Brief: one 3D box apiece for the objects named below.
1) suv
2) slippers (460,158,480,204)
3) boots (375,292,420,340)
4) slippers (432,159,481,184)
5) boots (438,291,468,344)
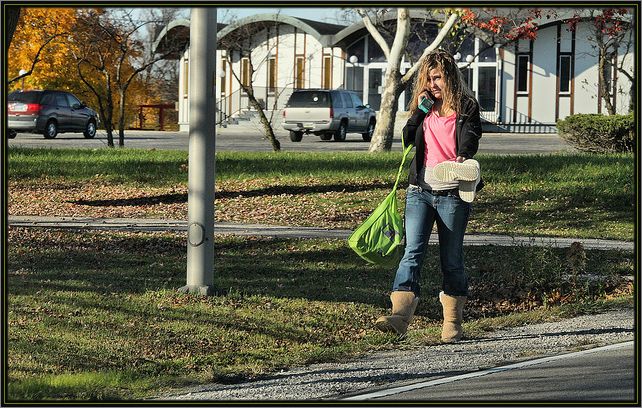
[{"bbox_3d":[0.370,-3.605,46.454,2.927,2.089,5.407,2,4,36],"label":"suv"},{"bbox_3d":[2.619,-0.410,19.897,0.298,0.804,0.344,4,6,22],"label":"slippers"},{"bbox_3d":[1.339,1.919,20.026,0.402,0.772,0.776,-3,-14,36],"label":"boots"},{"bbox_3d":[2.334,-0.562,19.768,0.752,0.344,0.336,4,8,10],"label":"slippers"},{"bbox_3d":[2.434,2.073,20.420,0.488,0.815,0.486,-1,-1,28],"label":"boots"}]
